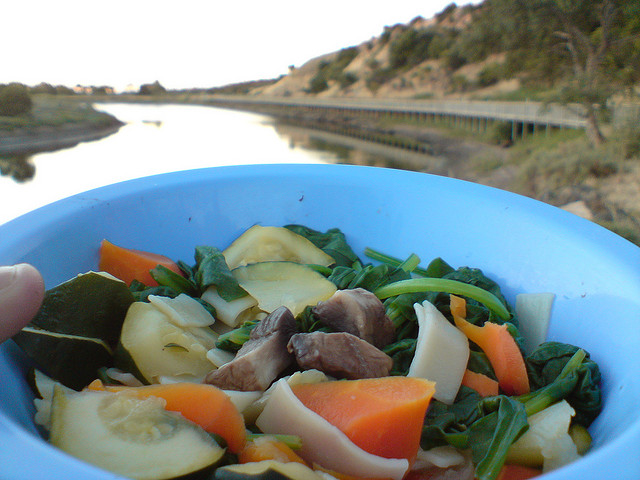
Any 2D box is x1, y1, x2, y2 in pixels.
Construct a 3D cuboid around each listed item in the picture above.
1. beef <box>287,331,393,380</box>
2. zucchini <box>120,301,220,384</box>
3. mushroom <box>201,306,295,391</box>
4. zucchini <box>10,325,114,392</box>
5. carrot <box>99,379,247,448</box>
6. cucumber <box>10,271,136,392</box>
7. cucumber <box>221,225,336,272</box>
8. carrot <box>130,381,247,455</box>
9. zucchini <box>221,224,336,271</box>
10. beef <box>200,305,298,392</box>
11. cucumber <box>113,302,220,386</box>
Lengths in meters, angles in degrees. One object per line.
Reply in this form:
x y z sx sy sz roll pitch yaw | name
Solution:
0.044 0.233 0.977 0.196 0.101 0.069 -4 17 2 | beef
-0.302 0.190 1.081 0.206 0.150 0.165 9 13 36 | zucchini
-0.134 0.228 0.993 0.113 0.118 0.202 11 24 40 | mushroom
-0.505 0.226 0.974 0.168 0.170 0.052 -21 24 -41 | zucchini
-0.216 0.295 0.811 0.177 0.118 0.041 -2 17 10 | carrot
-0.495 0.176 1.011 0.156 0.236 0.295 3 15 14 | cucumber
-0.136 0.005 1.451 0.343 0.122 0.218 -12 13 -35 | cucumber
-0.188 0.278 0.797 0.136 0.047 0.131 33 18 -33 | carrot
-0.135 -0.010 1.466 0.337 0.123 0.214 -12 14 -35 | zucchini
-0.123 0.235 1.008 0.123 0.093 0.222 10 29 29 | beef
-0.314 0.187 1.097 0.222 0.159 0.180 9 12 35 | cucumber
